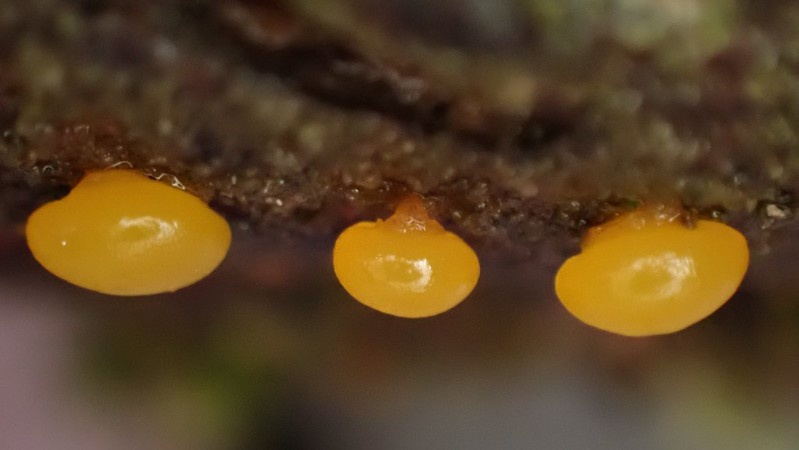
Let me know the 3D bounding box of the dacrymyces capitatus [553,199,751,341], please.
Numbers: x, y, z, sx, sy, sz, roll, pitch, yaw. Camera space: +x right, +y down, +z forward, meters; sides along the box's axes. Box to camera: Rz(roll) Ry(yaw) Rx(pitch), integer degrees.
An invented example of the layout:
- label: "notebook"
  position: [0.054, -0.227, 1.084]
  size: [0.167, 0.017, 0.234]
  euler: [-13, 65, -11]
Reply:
- label: "dacrymyces capitatus"
  position: [0.535, 0.098, 1.817]
  size: [0.371, 0.076, 0.269]
  euler: [16, 83, 1]
